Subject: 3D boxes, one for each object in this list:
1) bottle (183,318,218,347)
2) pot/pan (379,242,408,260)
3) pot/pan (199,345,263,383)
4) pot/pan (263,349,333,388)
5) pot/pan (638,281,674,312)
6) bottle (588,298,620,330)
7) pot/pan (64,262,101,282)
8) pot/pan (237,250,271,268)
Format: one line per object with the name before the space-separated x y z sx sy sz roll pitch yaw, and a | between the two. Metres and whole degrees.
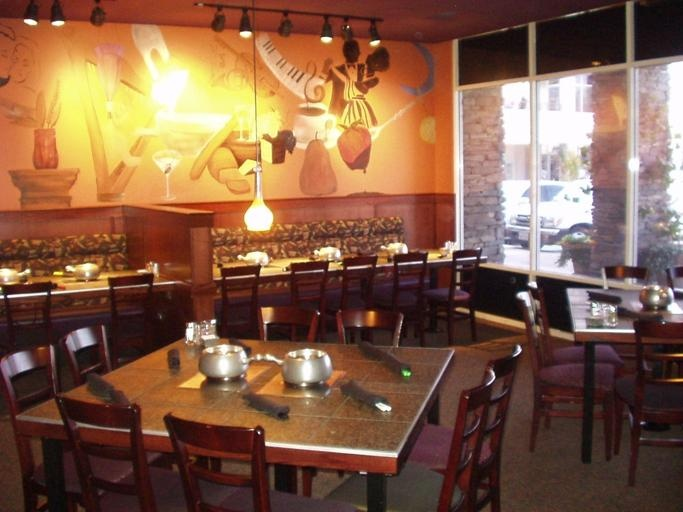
bottle | -0.845 0.468 3.505 0.229 0.162 0.135 1 -5 -16
pot/pan | 0.603 -0.072 6.633 0.269 0.109 0.217 -1 2 22
pot/pan | -0.605 0.544 2.950 0.209 0.105 0.177 -3 8 -15
pot/pan | -0.220 0.545 2.880 0.271 0.121 0.177 0 2 26
pot/pan | 2.307 0.288 4.162 0.192 0.139 0.195 -2 4 2
bottle | 1.793 0.390 3.907 0.169 0.176 0.173 0 3 38
pot/pan | -2.549 0.156 5.564 0.353 0.146 0.220 0 1 17
pot/pan | -0.862 0.014 6.041 0.223 0.100 0.279 11 18 42
